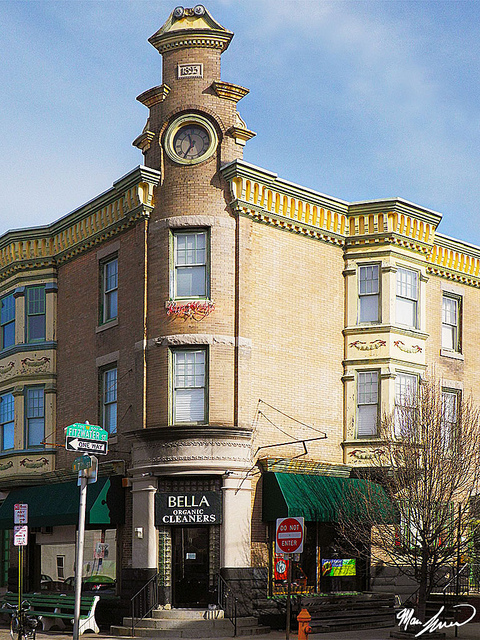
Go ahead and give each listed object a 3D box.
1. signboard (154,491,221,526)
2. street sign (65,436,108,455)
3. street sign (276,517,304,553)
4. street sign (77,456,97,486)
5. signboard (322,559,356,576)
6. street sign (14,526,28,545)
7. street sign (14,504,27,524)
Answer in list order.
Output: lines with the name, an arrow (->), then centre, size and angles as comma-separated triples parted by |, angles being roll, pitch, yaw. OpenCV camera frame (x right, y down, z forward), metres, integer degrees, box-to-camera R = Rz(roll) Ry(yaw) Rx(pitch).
signboard -> -1.300, 4.633, 46.448 | 1.376, 0.928, 0.538 | 1, -14, -14
street sign -> -3.283, 2.632, 39.802 | 1.147, 0.301, 0.282 | 9, -16, -43
street sign -> 1.104, 4.575, 40.271 | 0.043, 0.896, 0.846 | 9, -12, -42
street sign -> -3.213, 3.135, 39.701 | 0.378, 0.635, 0.595 | -1, -11, -3
signboard -> 2.619, 6.391, 48.852 | 1.175, 0.421, 0.095 | 9, -15, -42
street sign -> -5.055, 4.914, 43.210 | 0.238, 0.463, 0.750 | -1, -12, -6
street sign -> -5.095, 4.452, 43.543 | 0.236, 0.458, 0.470 | -1, -11, -4
